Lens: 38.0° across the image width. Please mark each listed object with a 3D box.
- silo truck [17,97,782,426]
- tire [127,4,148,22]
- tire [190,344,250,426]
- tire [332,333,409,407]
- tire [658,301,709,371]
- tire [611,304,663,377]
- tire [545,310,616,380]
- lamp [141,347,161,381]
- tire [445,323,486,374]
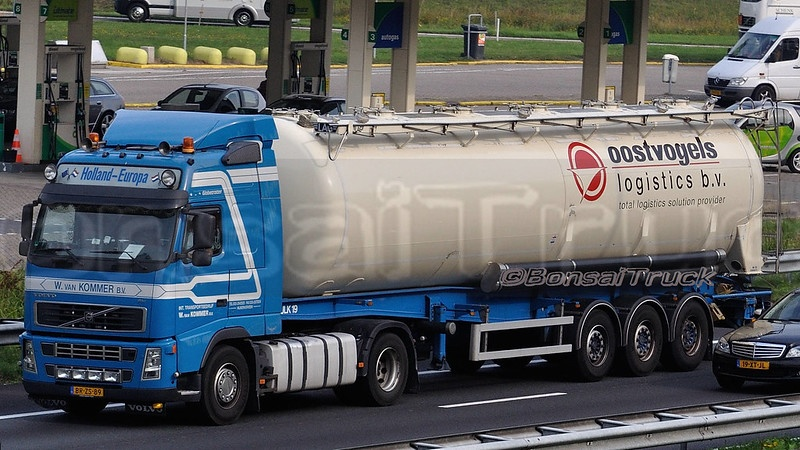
[{"bbox_3d":[1.009,0.280,24.768,18.006,5.270,4.785,-3,8,-35],"label":"silo truck"},{"bbox_3d":[-14.720,-11.842,64.907,1.127,1.019,0.420,-1,2,-1],"label":"tire"},{"bbox_3d":[-3.219,2.810,20.421,0.576,1.634,1.539,-2,-4,36],"label":"tire"},{"bbox_3d":[-0.448,2.739,22.139,0.601,1.419,1.538,-2,-2,31],"label":"tire"},{"bbox_3d":[6.611,2.411,25.520,0.561,1.499,1.572,2,-1,-17],"label":"tire"},{"bbox_3d":[4.984,2.438,24.634,0.571,1.514,1.654,5,2,43],"label":"tire"},{"bbox_3d":[3.745,2.426,24.042,0.513,1.345,1.466,-1,6,44],"label":"tire"},{"bbox_3d":[-4.184,2.411,20.037,0.401,0.581,0.375,-3,-13,7],"label":"lamp"},{"bbox_3d":[1.265,2.572,24.551,0.874,0.827,0.791,-28,-32,34],"label":"tire"}]
